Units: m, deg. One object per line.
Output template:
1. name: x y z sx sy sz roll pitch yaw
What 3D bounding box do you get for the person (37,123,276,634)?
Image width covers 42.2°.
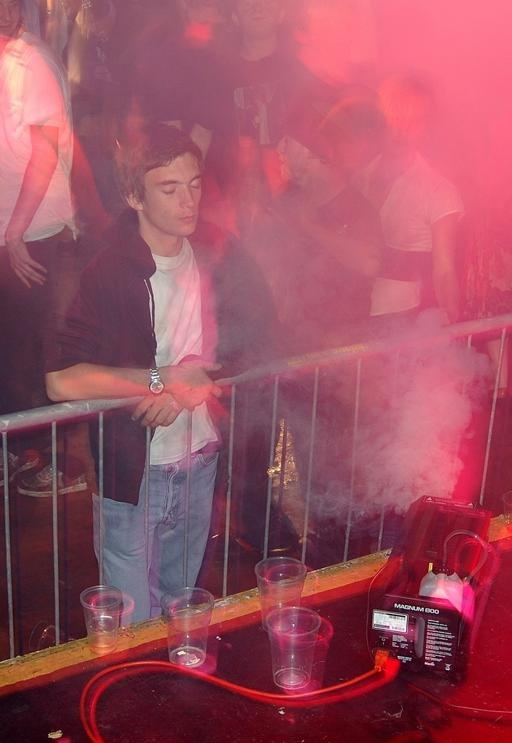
1. person: -0.449 0.081 2.935 0.671 2.253 1.131 8 17 26

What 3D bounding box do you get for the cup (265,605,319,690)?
1. cup: 0.104 0.723 1.801 0.152 0.168 0.156 2 8 0

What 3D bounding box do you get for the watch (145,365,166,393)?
1. watch: -0.406 0.042 2.681 0.066 0.102 0.084 -2 15 -8

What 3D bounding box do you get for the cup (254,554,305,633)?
1. cup: 0.069 0.664 2.003 0.165 0.176 0.167 -1 11 0

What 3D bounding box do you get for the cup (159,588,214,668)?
1. cup: -0.179 0.722 1.880 0.161 0.183 0.163 4 10 -1

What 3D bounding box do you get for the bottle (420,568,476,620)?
1. bottle: 0.494 0.592 1.723 0.139 0.115 0.087 5 16 16
